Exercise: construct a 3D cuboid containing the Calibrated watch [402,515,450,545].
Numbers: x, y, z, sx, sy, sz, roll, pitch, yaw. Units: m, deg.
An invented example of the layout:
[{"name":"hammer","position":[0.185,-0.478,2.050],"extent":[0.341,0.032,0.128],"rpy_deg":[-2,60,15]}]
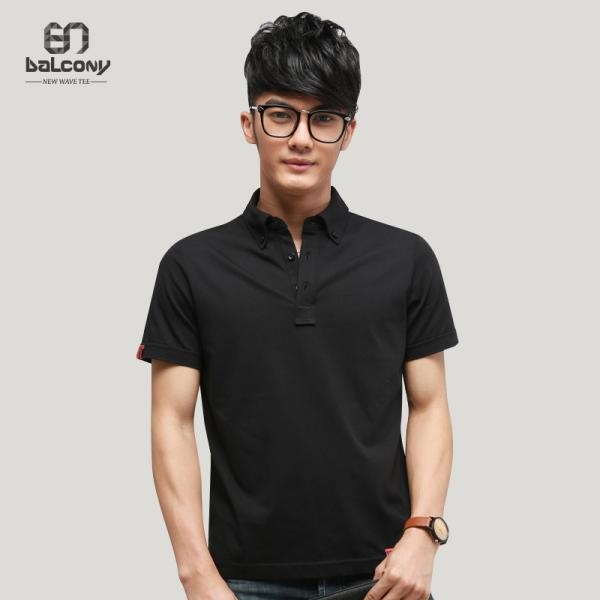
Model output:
[{"name":"Calibrated watch","position":[0.469,0.864,2.659],"extent":[0.161,0.119,0.117],"rpy_deg":[-2,-4,8]}]
